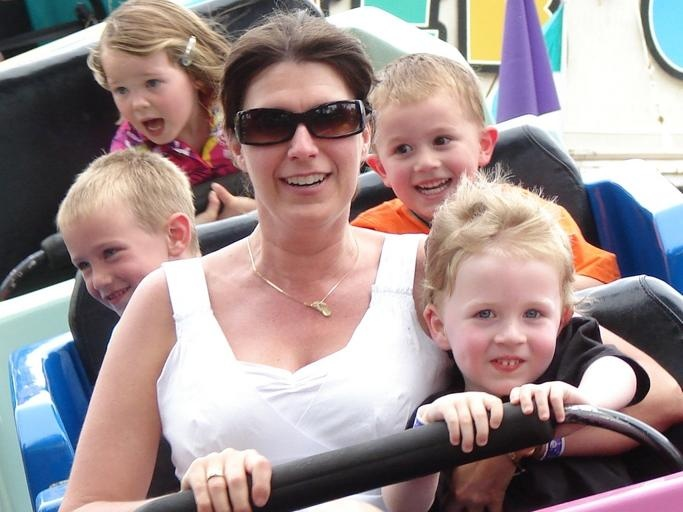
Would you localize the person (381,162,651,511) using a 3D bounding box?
[{"bbox_3d":[0.355,0.114,1.635,0.620,0.796,0.660,-3,5,-6],"label":"person"}]

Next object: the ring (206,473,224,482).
[{"bbox_3d":[-0.226,0.394,1.303,0.028,0.006,0.014,-7,14,2],"label":"ring"}]

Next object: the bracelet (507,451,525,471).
[{"bbox_3d":[0.370,0.439,1.552,0.021,0.044,0.031,-15,19,-40],"label":"bracelet"}]
